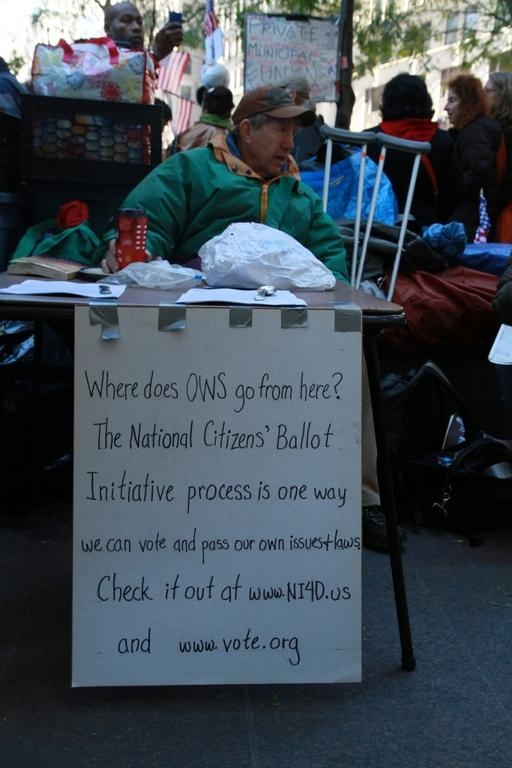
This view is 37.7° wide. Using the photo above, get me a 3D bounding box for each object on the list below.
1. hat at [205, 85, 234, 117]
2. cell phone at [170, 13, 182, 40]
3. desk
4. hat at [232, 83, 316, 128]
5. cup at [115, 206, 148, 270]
[{"bbox_3d":[-0.278,-1.936,5.216,0.178,0.223,0.233,1,-19,-11],"label":"hat"},{"bbox_3d":[-0.551,-2.398,5.029,0.087,0.184,0.155,2,11,-2],"label":"cell phone"},{"bbox_3d":[-0.115,0.195,2.173,1.327,0.928,1.003,-1,2,-1],"label":"desk"},{"bbox_3d":[0.062,-1.021,2.766,0.252,0.120,0.156,-6,11,7],"label":"hat"},{"bbox_3d":[-0.366,-0.422,2.189,0.088,0.171,0.074,-2,12,-19],"label":"cup"}]
